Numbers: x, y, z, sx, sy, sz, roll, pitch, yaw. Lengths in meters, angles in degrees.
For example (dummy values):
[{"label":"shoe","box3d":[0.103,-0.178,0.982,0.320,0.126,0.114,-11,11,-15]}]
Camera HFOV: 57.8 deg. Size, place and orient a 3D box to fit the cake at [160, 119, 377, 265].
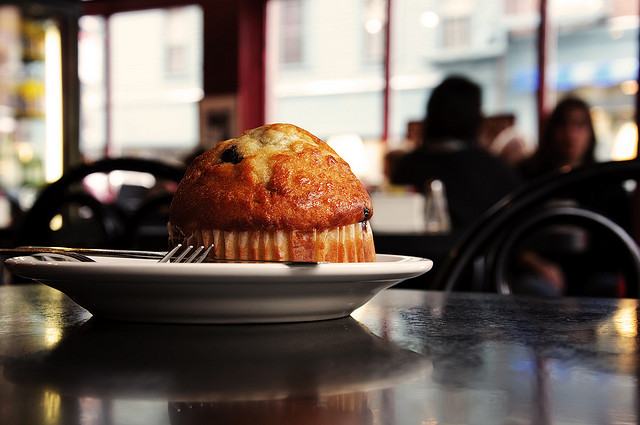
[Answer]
[{"label":"cake","box3d":[-0.060,-0.026,0.739,0.256,0.181,0.258,-6,11,-42]}]
